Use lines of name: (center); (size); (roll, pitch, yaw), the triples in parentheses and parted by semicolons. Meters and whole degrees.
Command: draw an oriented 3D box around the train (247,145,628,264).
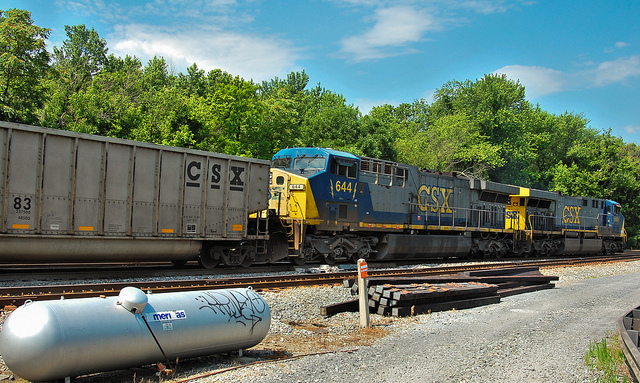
train: (8.824, 1.465, 26.487); (22.933, 4.358, 3.977); (4, -3, -10)
